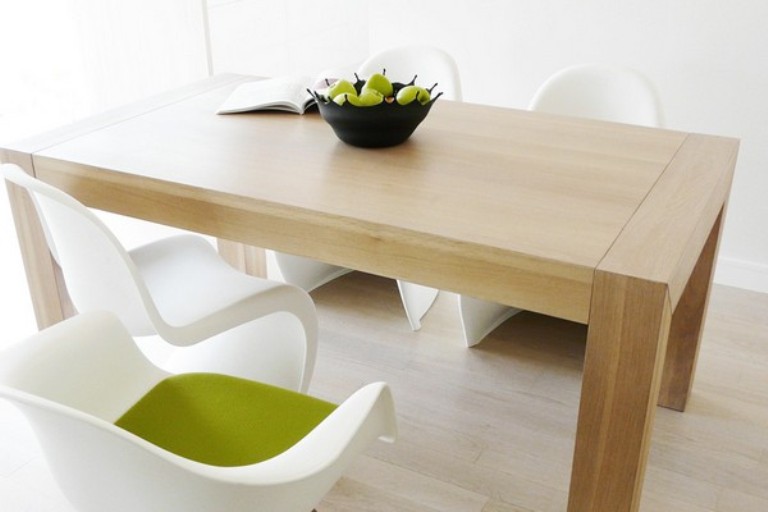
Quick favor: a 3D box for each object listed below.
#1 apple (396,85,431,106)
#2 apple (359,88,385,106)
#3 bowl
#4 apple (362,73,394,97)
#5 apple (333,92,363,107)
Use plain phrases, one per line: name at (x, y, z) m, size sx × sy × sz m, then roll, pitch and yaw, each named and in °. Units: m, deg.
apple at (0.091, -0.504, 1.772) m, size 0.089 × 0.052 × 0.066 m, roll -9°, pitch 24°, yaw -24°
apple at (-0.034, -0.477, 1.736) m, size 0.056 × 0.068 × 0.054 m, roll -5°, pitch 36°, yaw -15°
bowl at (-0.029, -0.461, 1.901) m, size 0.374 × 0.201 × 0.402 m, roll 1°, pitch 18°, yaw 0°
apple at (-0.019, -0.528, 1.828) m, size 0.079 × 0.097 × 0.079 m, roll 9°, pitch 50°, yaw 8°
apple at (-0.118, -0.464, 1.747) m, size 0.062 × 0.053 × 0.052 m, roll -2°, pitch 8°, yaw 4°
